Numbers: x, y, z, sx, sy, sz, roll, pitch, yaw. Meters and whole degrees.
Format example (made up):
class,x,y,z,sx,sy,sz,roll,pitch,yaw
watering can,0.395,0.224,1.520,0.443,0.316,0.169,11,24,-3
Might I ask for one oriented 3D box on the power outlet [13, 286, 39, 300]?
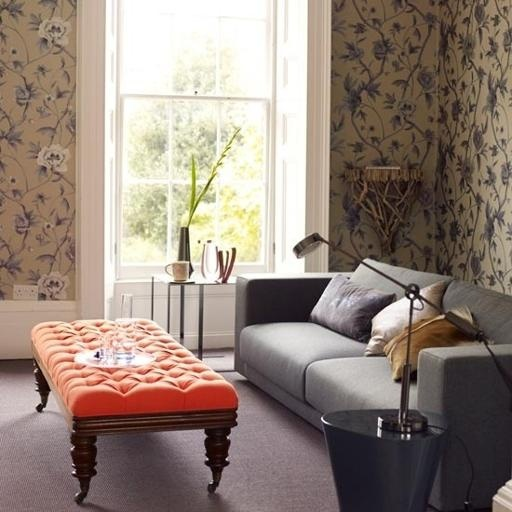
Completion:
class,x,y,z,sx,sy,sz,roll,pitch,yaw
power outlet,-1.667,0.264,3.839,0.156,0.105,0.031,-2,4,-12

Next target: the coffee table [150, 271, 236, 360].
class,x,y,z,sx,sy,sz,roll,pitch,yaw
coffee table,-0.513,0.328,4.015,0.583,0.773,0.759,2,1,-18

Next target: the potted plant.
class,x,y,z,sx,sy,sz,roll,pitch,yaw
potted plant,-0.369,-0.465,4.139,0.481,1.235,0.802,1,2,-2

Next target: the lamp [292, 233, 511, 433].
class,x,y,z,sx,sy,sz,roll,pitch,yaw
lamp,0.537,0.202,1.757,0.717,0.529,0.582,0,2,-33

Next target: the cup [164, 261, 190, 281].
class,x,y,z,sx,sy,sz,roll,pitch,yaw
cup,-0.534,0.104,3.725,0.125,0.141,0.223,1,1,-1
